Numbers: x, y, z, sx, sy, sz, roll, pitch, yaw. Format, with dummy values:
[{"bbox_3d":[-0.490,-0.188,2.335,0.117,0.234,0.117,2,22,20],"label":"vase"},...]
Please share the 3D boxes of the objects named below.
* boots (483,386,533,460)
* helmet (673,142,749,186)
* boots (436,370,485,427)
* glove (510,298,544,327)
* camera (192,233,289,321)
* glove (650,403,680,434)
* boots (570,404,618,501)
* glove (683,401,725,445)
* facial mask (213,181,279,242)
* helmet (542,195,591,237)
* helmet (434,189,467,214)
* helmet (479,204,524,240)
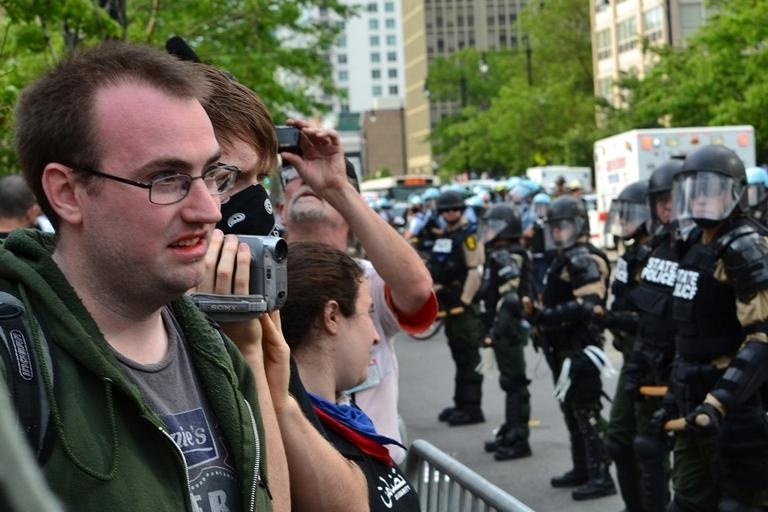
[{"bbox_3d":[0.636,0.910,5.776,0.333,0.455,0.288,2,-6,-3],"label":"boots"},{"bbox_3d":[1.803,-0.511,5.753,0.269,0.220,0.239,-6,11,-37],"label":"helmet"},{"bbox_3d":[0.509,0.846,6.497,0.295,0.345,0.366,3,-6,-19],"label":"boots"},{"bbox_3d":[0.837,0.321,6.181,0.058,0.146,0.152,-15,10,-43],"label":"glove"},{"bbox_3d":[-0.532,0.087,4.125,0.364,0.324,0.254,2,-6,18],"label":"camera"},{"bbox_3d":[1.551,0.884,5.796,0.177,0.168,0.128,4,1,-1],"label":"glove"},{"bbox_3d":[1.076,1.019,5.455,0.218,0.305,0.551,-7,3,11],"label":"boots"},{"bbox_3d":[1.692,0.856,5.538,0.204,0.180,0.123,-7,3,3],"label":"glove"},{"bbox_3d":[-0.605,-0.196,4.728,0.250,0.217,0.211,-9,4,15],"label":"facial mask"},{"bbox_3d":[1.084,-0.244,6.171,0.265,0.209,0.206,-17,15,-35],"label":"helmet"},{"bbox_3d":[0.583,-0.480,9.239,0.176,0.172,0.219,-4,-9,-5],"label":"helmet"},{"bbox_3d":[0.738,-0.211,6.622,0.323,0.267,0.253,-2,13,-1],"label":"helmet"}]
